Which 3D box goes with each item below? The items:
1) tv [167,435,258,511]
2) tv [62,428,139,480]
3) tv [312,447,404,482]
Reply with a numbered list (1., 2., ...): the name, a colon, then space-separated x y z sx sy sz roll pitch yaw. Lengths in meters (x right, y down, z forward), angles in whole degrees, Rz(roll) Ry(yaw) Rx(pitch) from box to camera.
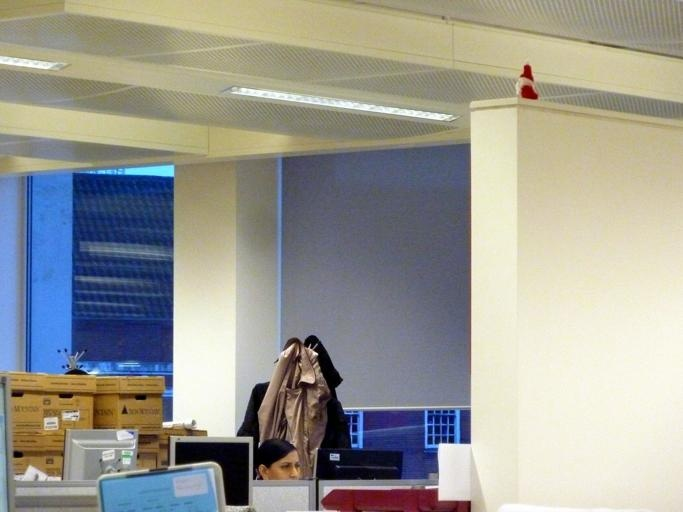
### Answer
1. tv: -0.723 1.181 4.989 0.624 0.603 0.063 -1 -4 5
2. tv: -1.559 1.257 5.802 0.472 0.465 0.154 2 -7 0
3. tv: 0.104 1.435 6.351 0.604 0.206 0.121 -2 -5 -3
